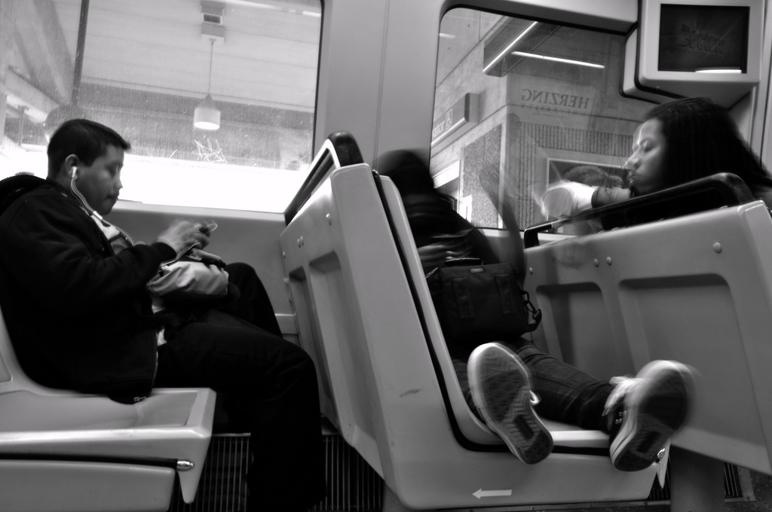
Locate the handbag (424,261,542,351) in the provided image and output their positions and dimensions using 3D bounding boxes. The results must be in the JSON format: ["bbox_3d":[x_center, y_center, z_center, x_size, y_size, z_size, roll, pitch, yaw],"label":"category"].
[{"bbox_3d":[0.384,0.172,2.158,0.372,0.312,0.180,-6,-15,-5],"label":"handbag"}]

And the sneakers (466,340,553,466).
[{"bbox_3d":[0.346,0.407,1.683,0.162,0.404,0.169,-30,1,0],"label":"sneakers"}]

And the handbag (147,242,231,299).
[{"bbox_3d":[-0.719,0.033,2.240,0.226,0.101,0.167,-15,-44,38],"label":"handbag"}]

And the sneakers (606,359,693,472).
[{"bbox_3d":[0.783,0.456,1.779,0.182,0.244,0.382,3,-52,-3],"label":"sneakers"}]

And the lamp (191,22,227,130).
[{"bbox_3d":[-0.948,-0.957,3.025,0.198,0.605,0.073,-4,-10,-18],"label":"lamp"}]

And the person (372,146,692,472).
[{"bbox_3d":[0.470,0.189,2.251,0.675,0.810,1.494,-1,3,-9],"label":"person"}]

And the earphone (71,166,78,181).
[{"bbox_3d":[-1.184,-0.311,2.143,0.032,0.043,0.011,3,0,-13],"label":"earphone"}]
